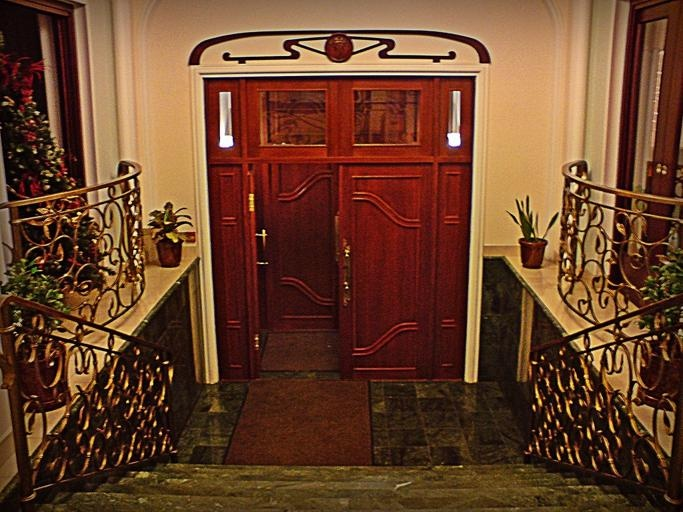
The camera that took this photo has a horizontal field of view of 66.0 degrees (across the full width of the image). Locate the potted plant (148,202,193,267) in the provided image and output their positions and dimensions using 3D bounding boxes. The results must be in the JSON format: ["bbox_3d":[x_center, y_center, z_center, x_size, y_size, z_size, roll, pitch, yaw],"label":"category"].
[{"bbox_3d":[-1.913,-0.249,5.886,0.474,0.701,0.495,-3,15,-7],"label":"potted plant"}]

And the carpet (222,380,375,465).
[{"bbox_3d":[-0.395,1.724,5.611,1.418,0.198,1.503,0,11,1],"label":"carpet"}]

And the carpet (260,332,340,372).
[{"bbox_3d":[-0.542,1.280,6.896,0.995,0.146,0.887,-1,12,-2],"label":"carpet"}]
